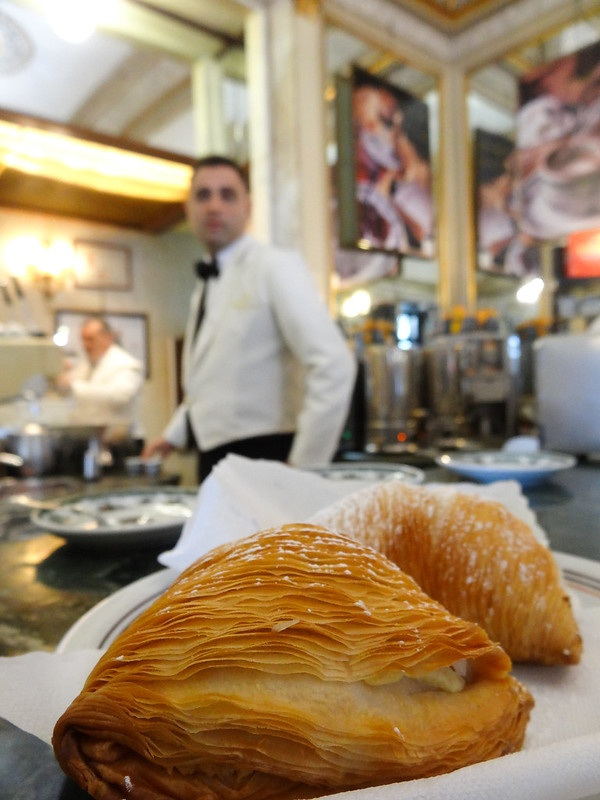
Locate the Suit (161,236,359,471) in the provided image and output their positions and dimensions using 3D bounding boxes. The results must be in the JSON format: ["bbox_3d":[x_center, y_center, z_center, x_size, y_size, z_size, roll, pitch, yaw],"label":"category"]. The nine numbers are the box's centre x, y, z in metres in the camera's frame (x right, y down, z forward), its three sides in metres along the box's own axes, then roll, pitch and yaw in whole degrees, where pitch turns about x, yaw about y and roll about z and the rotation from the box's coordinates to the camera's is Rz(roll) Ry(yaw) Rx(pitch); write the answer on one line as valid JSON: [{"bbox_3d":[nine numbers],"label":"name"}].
[{"bbox_3d":[-0.054,-0.087,1.096,0.174,0.356,0.267,-15,8,-43],"label":"Suit"}]
